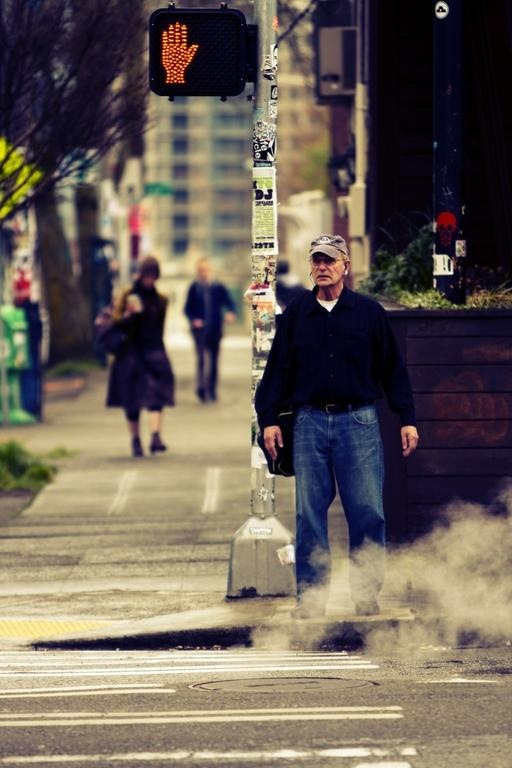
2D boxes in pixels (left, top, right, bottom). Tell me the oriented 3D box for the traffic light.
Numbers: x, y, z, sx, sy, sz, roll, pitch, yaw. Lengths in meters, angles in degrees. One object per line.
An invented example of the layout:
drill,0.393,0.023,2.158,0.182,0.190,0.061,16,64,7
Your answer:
traffic light,-0.296,-1.607,9.191,0.479,0.435,0.191,-3,10,-3

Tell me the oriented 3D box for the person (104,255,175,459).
person,-0.762,-0.123,11.743,0.470,1.257,0.522,-4,10,-12

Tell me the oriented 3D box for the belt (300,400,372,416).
belt,0.348,0.113,8.471,0.326,0.048,0.073,-2,11,5

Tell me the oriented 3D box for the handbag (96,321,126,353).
handbag,-0.897,-0.254,11.626,0.135,0.184,0.176,-11,-24,33

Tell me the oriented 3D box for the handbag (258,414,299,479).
handbag,0.073,0.255,8.612,0.175,0.291,0.086,-15,-14,-22

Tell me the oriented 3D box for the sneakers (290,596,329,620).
sneakers,0.239,1.035,8.612,0.121,0.104,0.079,5,2,6

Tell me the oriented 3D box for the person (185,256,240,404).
person,-0.526,-0.506,20.337,0.504,1.597,0.926,-1,10,3

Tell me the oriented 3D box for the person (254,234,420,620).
person,0.371,0.168,8.587,0.609,1.831,0.414,1,20,5

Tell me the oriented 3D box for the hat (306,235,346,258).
hat,0.324,-0.609,8.544,0.175,0.105,0.281,-2,12,2
